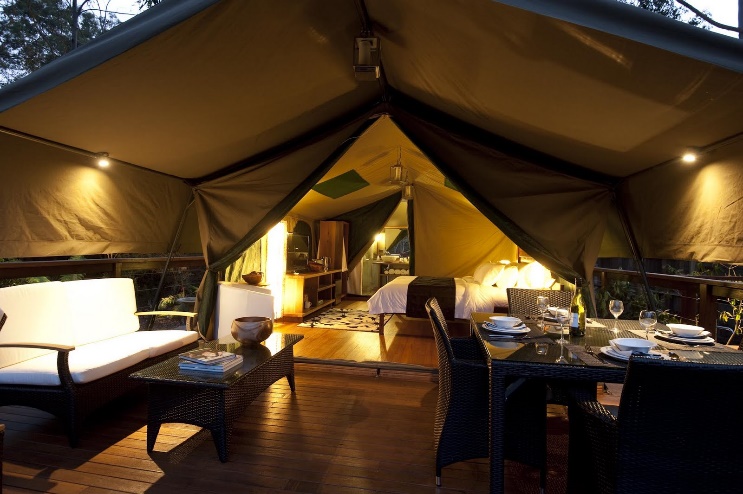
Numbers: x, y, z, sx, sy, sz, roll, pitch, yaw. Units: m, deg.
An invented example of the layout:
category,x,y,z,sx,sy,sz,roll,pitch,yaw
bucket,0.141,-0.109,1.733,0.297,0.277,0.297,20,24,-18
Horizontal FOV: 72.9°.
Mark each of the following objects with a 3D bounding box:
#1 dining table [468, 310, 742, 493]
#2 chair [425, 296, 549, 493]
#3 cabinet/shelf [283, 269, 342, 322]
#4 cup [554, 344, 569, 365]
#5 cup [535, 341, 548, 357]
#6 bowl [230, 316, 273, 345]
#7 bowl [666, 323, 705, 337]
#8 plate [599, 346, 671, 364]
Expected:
category,x,y,z,sx,sy,sz,roll,pitch,yaw
dining table,1.322,0.758,3.262,1.080,0.785,1.620,0,2,-2
chair,0.727,1.029,4.182,1.155,1.631,1.051,-1,-1,10
cabinet/shelf,-0.977,0.748,8.981,0.464,0.704,2.681,2,1,11
cup,1.222,0.684,3.207,0.079,0.114,0.079,0,-3,0
cup,1.125,0.668,3.311,0.057,0.128,0.063,0,-7,1
bowl,-1.054,0.726,4.348,0.255,0.160,0.274,0,-3,0
bowl,2.228,0.586,3.547,0.134,0.041,0.133,-2,3,0
plate,1.570,0.666,3.093,0.219,0.029,0.221,0,0,0
